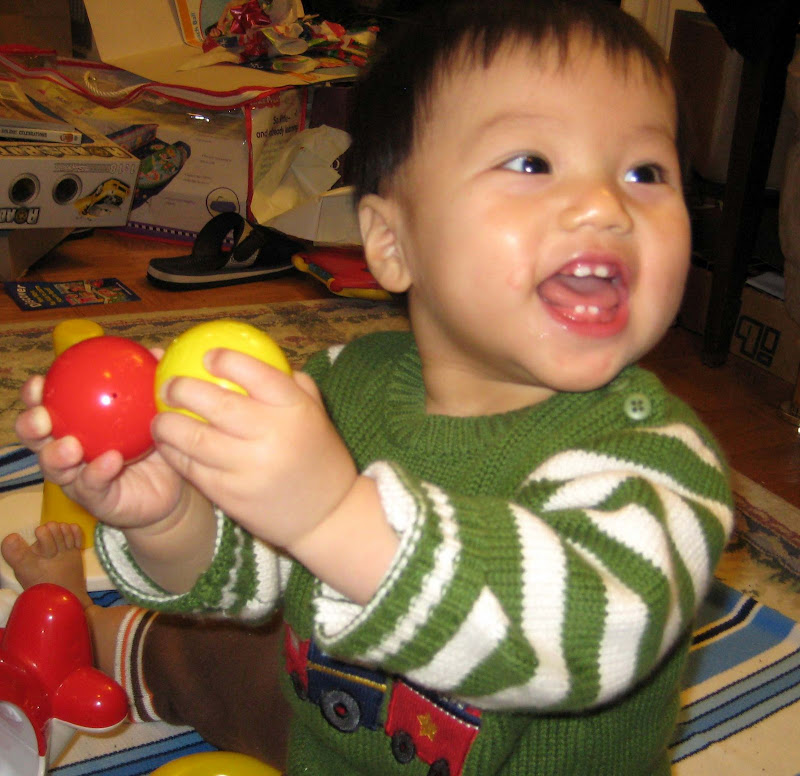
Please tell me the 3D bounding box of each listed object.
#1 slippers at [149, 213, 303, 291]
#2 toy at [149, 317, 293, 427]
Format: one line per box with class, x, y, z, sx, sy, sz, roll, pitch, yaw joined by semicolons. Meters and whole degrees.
slippers;-0.474;-0.384;2.094;0.414;0.157;0.168;-12;34;-28
toy;-0.119;-0.006;0.529;0.076;0.076;0.089;19;-13;-17
